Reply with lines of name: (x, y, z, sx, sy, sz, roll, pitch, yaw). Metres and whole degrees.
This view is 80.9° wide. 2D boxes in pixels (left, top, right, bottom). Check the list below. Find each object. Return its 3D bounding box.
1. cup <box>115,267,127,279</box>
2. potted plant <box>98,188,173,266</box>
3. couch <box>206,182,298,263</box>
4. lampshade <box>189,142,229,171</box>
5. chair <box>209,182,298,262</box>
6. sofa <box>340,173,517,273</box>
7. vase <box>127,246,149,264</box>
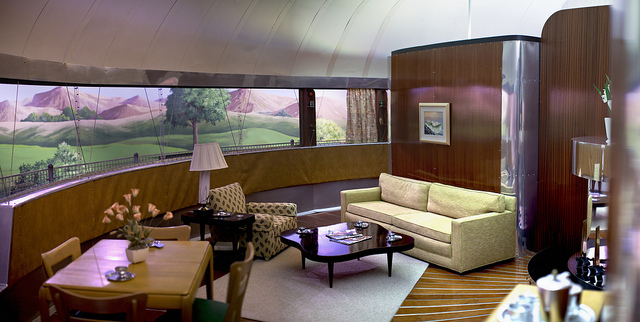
cup: (-2.749, 1.542, 5.190, 0.164, 0.129, 0.141, 0, 4, -26)
potted plant: (-2.894, 1.049, 5.675, 1.021, 0.784, 0.835, -5, -14, -6)
couch: (-1.585, 1.374, 9.018, 2.270, 1.241, 2.129, 4, 5, -17)
lampshade: (-2.525, -0.077, 8.476, 0.749, 0.621, 0.278, -3, 6, -17)
chair: (-1.587, 1.380, 9.035, 2.207, 1.348, 2.092, 2, 5, -18)
sofa: (2.579, 1.248, 10.391, 6.094, 2.313, 2.199, 0, -2, -1)
vase: (-2.657, 1.369, 5.534, 0.247, 0.219, 0.303, -2, -1, 42)
